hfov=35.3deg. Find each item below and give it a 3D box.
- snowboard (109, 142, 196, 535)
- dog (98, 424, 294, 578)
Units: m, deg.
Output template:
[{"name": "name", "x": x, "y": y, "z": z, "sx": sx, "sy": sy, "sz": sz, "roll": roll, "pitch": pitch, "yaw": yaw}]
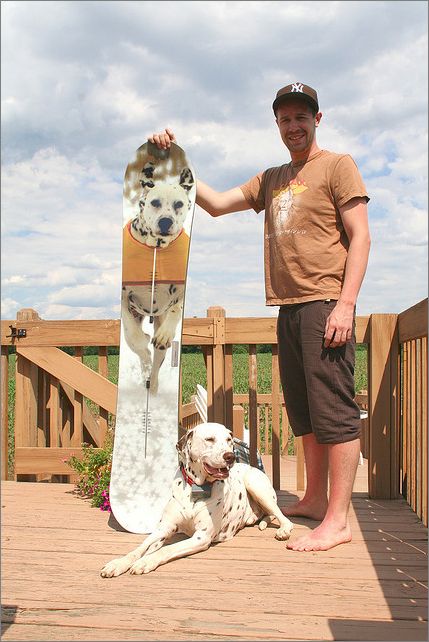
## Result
[{"name": "snowboard", "x": -0.363, "y": 0.088, "z": 3.961, "sx": 0.549, "sy": 2.176, "sz": 0.322, "roll": 1, "pitch": -8, "yaw": 2}, {"name": "dog", "x": -0.008, "y": 0.768, "z": 3.099, "sx": 0.517, "sy": 0.618, "sz": 1.043, "roll": 1, "pitch": 3, "yaw": 30}]
